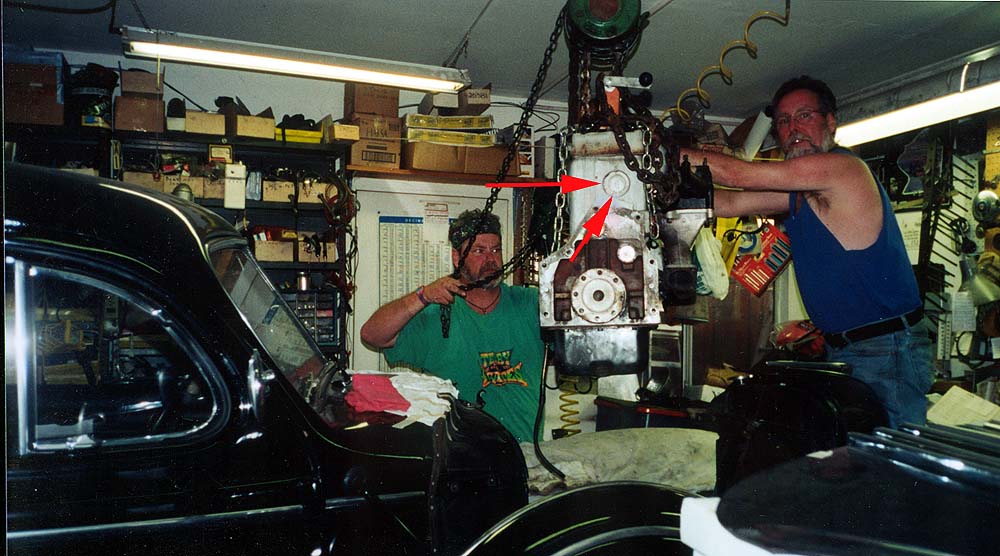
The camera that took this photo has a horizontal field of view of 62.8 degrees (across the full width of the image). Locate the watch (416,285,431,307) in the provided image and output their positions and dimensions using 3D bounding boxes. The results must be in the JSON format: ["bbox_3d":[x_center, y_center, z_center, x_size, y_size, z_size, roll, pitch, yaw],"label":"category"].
[{"bbox_3d":[-0.257,0.068,2.887,0.020,0.065,0.071,-28,29,-29],"label":"watch"}]

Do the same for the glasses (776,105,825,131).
[{"bbox_3d":[0.900,-0.471,2.445,0.147,0.054,0.025,-2,-3,17],"label":"glasses"}]

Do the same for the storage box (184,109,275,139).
[{"bbox_3d":[-1.492,-0.830,4.518,0.542,0.134,0.177,1,-3,-42],"label":"storage box"}]

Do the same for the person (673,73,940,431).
[{"bbox_3d":[0.960,-0.068,2.467,0.710,1.048,0.196,-1,-3,-7],"label":"person"}]

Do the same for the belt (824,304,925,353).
[{"bbox_3d":[1.123,0.159,2.469,0.184,0.051,0.171,-14,8,42],"label":"belt"}]
